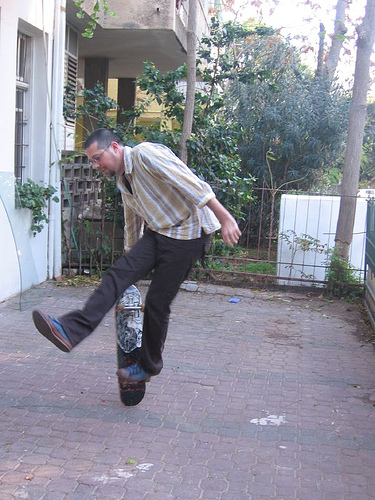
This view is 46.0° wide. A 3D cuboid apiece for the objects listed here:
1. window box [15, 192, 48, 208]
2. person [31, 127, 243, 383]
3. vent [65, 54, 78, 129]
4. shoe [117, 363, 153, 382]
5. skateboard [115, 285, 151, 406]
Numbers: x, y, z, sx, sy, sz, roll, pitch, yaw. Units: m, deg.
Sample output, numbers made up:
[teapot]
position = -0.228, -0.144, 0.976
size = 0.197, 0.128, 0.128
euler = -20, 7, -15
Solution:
[window box]
position = -2.149, -0.703, 6.093
size = 0.174, 0.260, 0.698
euler = 3, 1, 7
[person]
position = -0.232, 0.097, 2.517
size = 0.945, 1.492, 0.621
euler = 3, 2, -2
[vent]
position = -2.442, -3.394, 9.345
size = 0.204, 1.731, 1.746
euler = 2, 2, -15
[shoe]
position = -0.335, 0.771, 2.805
size = 0.233, 0.110, 0.079
euler = 10, 42, -48
[skateboard]
position = -0.352, 0.607, 2.828
size = 0.228, 0.800, 0.117
euler = 0, -3, -31
